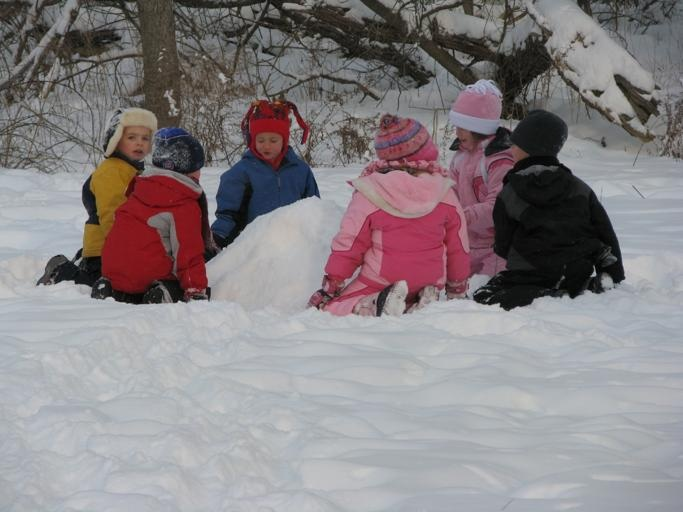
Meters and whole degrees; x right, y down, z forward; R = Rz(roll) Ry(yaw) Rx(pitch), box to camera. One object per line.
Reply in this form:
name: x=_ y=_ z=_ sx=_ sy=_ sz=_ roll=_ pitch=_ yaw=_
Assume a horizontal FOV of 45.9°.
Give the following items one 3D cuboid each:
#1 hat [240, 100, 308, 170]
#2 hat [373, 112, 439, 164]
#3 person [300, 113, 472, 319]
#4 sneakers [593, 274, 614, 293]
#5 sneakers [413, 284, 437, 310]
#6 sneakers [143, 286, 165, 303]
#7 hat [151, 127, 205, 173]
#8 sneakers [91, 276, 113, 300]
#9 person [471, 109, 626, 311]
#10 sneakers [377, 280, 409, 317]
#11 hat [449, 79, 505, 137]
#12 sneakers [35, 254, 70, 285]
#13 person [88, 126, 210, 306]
hat: x=-0.530 y=-0.970 z=6.491 sx=0.555 sy=0.486 sz=0.540 roll=2 pitch=4 yaw=8
hat: x=0.412 y=-0.797 z=5.540 sx=0.438 sy=0.360 sz=0.308 roll=-11 pitch=23 yaw=-7
person: x=0.324 y=-0.288 z=5.322 sx=0.966 sy=1.330 sz=0.534 roll=-1 pitch=4 yaw=-39
sneakers: x=1.691 y=0.171 z=5.290 sx=0.163 sy=0.131 sz=0.054 roll=1 pitch=3 yaw=-9
sneakers: x=0.529 y=0.264 z=5.281 sx=0.103 sy=0.172 sz=0.065 roll=34 pitch=6 yaw=7
sneakers: x=-1.226 y=0.246 z=5.265 sx=0.089 sy=0.120 sz=0.196 roll=-1 pitch=4 yaw=-41
hat: x=-1.138 y=-0.736 z=5.623 sx=0.314 sy=0.325 sz=0.424 roll=-2 pitch=3 yaw=14
sneakers: x=-1.557 y=0.209 z=5.323 sx=0.103 sy=0.136 sz=0.141 roll=9 pitch=12 yaw=-1
person: x=1.341 y=-0.370 z=5.714 sx=1.032 sy=1.189 sz=0.968 roll=2 pitch=13 yaw=40
sneakers: x=0.301 y=0.276 z=5.088 sx=0.086 sy=0.232 sz=0.166 roll=17 pitch=-25 yaw=39
hat: x=0.989 y=-1.158 z=6.191 sx=0.416 sy=0.387 sz=0.371 roll=4 pitch=14 yaw=-15
sneakers: x=-1.952 y=0.084 z=5.459 sx=0.131 sy=0.264 sz=0.078 roll=33 pitch=1 yaw=31
person: x=-1.230 y=-0.274 z=5.323 sx=0.745 sy=1.184 sz=0.520 roll=1 pitch=3 yaw=-15
